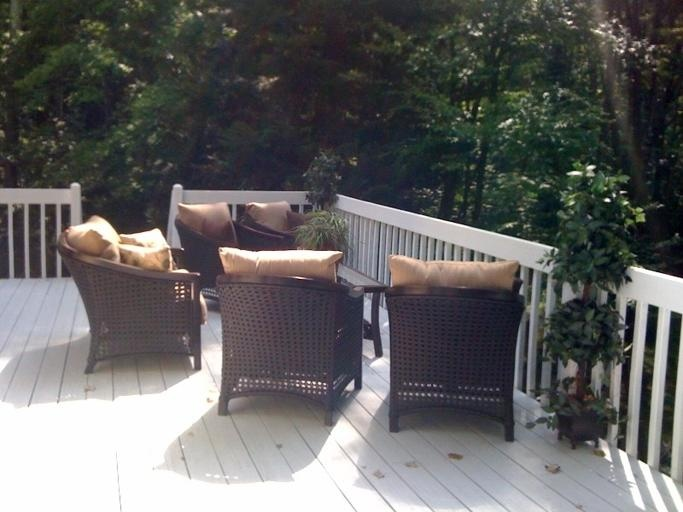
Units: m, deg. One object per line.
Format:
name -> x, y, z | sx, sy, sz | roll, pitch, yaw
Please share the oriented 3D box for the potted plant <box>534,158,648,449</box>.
potted plant -> 1.652, 0.342, 4.749 | 0.620, 1.895, 0.316 | 4, 6, 19
